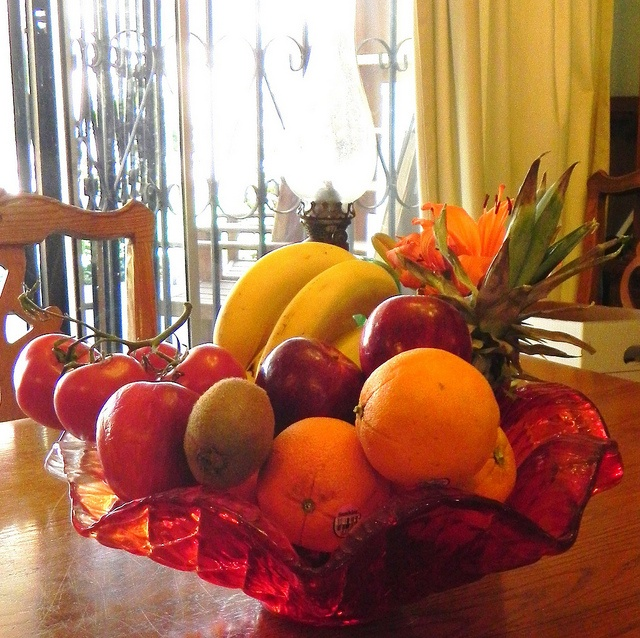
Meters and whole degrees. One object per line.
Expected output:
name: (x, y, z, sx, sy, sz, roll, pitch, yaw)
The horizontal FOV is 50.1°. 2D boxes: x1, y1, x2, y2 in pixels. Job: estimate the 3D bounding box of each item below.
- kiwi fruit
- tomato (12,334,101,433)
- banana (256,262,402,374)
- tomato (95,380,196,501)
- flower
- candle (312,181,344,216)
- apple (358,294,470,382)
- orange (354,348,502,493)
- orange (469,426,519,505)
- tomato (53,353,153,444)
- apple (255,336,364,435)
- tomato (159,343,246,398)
kiwi fruit: (-0.051, 0.072, 0.418, 0.057, 0.072, 0.102, 0, 3, 13)
tomato: (-0.234, 0.058, 0.604, 0.073, 0.081, 0.074, 14, 15, -39)
banana: (0.014, -0.015, 0.618, 0.038, 0.084, 0.142, -19, 14, 34)
tomato: (-0.104, 0.070, 0.451, 0.053, 0.072, 0.072, 2, 7, 17)
flower: (0.153, -0.001, 0.580, 0.146, 0.199, 0.138, 25, 17, 12)
candle: (0.009, -0.163, 0.963, 0.036, 0.064, 0.042, 2, -6, -7)
apple: (0.061, 0.001, 0.464, 0.057, 0.062, 0.062, -4, 13, -39)
orange: (0.062, 0.058, 0.437, 0.069, 0.081, 0.074, -1, 14, -9)
orange: (0.104, 0.090, 0.415, 0.020, 0.049, 0.029, 10, 12, 18)
tomato: (-0.159, 0.069, 0.524, 0.065, 0.084, 0.072, -2, -2, -18)
apple: (-0.011, 0.055, 0.493, 0.057, 0.066, 0.060, 28, 0, 23)
tomato: (-0.085, 0.033, 0.495, 0.042, 0.040, 0.049, 8, 13, 28)
